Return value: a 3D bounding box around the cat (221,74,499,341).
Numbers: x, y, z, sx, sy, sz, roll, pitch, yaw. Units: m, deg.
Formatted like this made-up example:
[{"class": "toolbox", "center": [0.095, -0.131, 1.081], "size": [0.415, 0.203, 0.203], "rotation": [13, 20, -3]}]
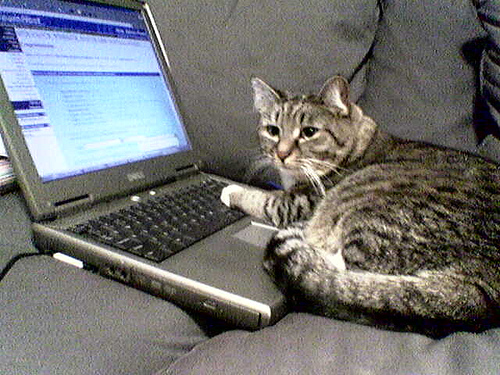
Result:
[{"class": "cat", "center": [0.292, 0.084, 1.285], "size": [0.563, 0.288, 0.719], "rotation": [-39, 42, -23]}]
